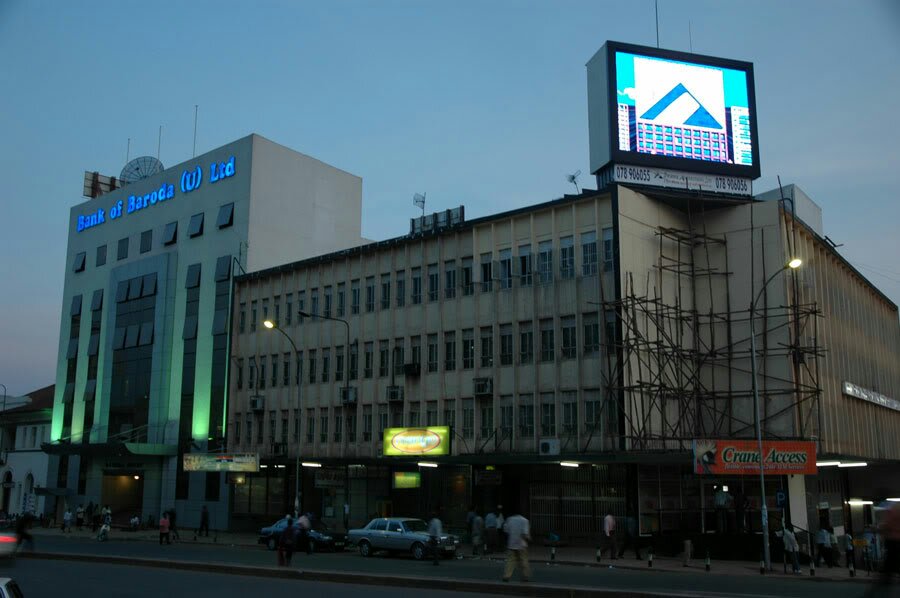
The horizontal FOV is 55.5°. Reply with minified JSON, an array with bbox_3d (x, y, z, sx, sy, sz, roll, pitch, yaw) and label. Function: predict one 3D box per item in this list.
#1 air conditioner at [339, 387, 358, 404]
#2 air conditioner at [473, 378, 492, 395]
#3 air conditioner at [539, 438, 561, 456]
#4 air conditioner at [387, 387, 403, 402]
[{"bbox_3d":[-7.506,7.244,63.956,1.547,1.588,1.102,-10,-17,37],"label":"air conditioner"},{"bbox_3d":[2.267,5.881,57.369,1.236,1.250,1.001,-12,-19,39],"label":"air conditioner"},{"bbox_3d":[6.286,9.261,53.274,0.954,0.965,1.002,-13,-18,38],"label":"air conditioner"},{"bbox_3d":[-3.875,6.751,61.183,1.181,1.079,0.426,-5,-18,7],"label":"air conditioner"}]
